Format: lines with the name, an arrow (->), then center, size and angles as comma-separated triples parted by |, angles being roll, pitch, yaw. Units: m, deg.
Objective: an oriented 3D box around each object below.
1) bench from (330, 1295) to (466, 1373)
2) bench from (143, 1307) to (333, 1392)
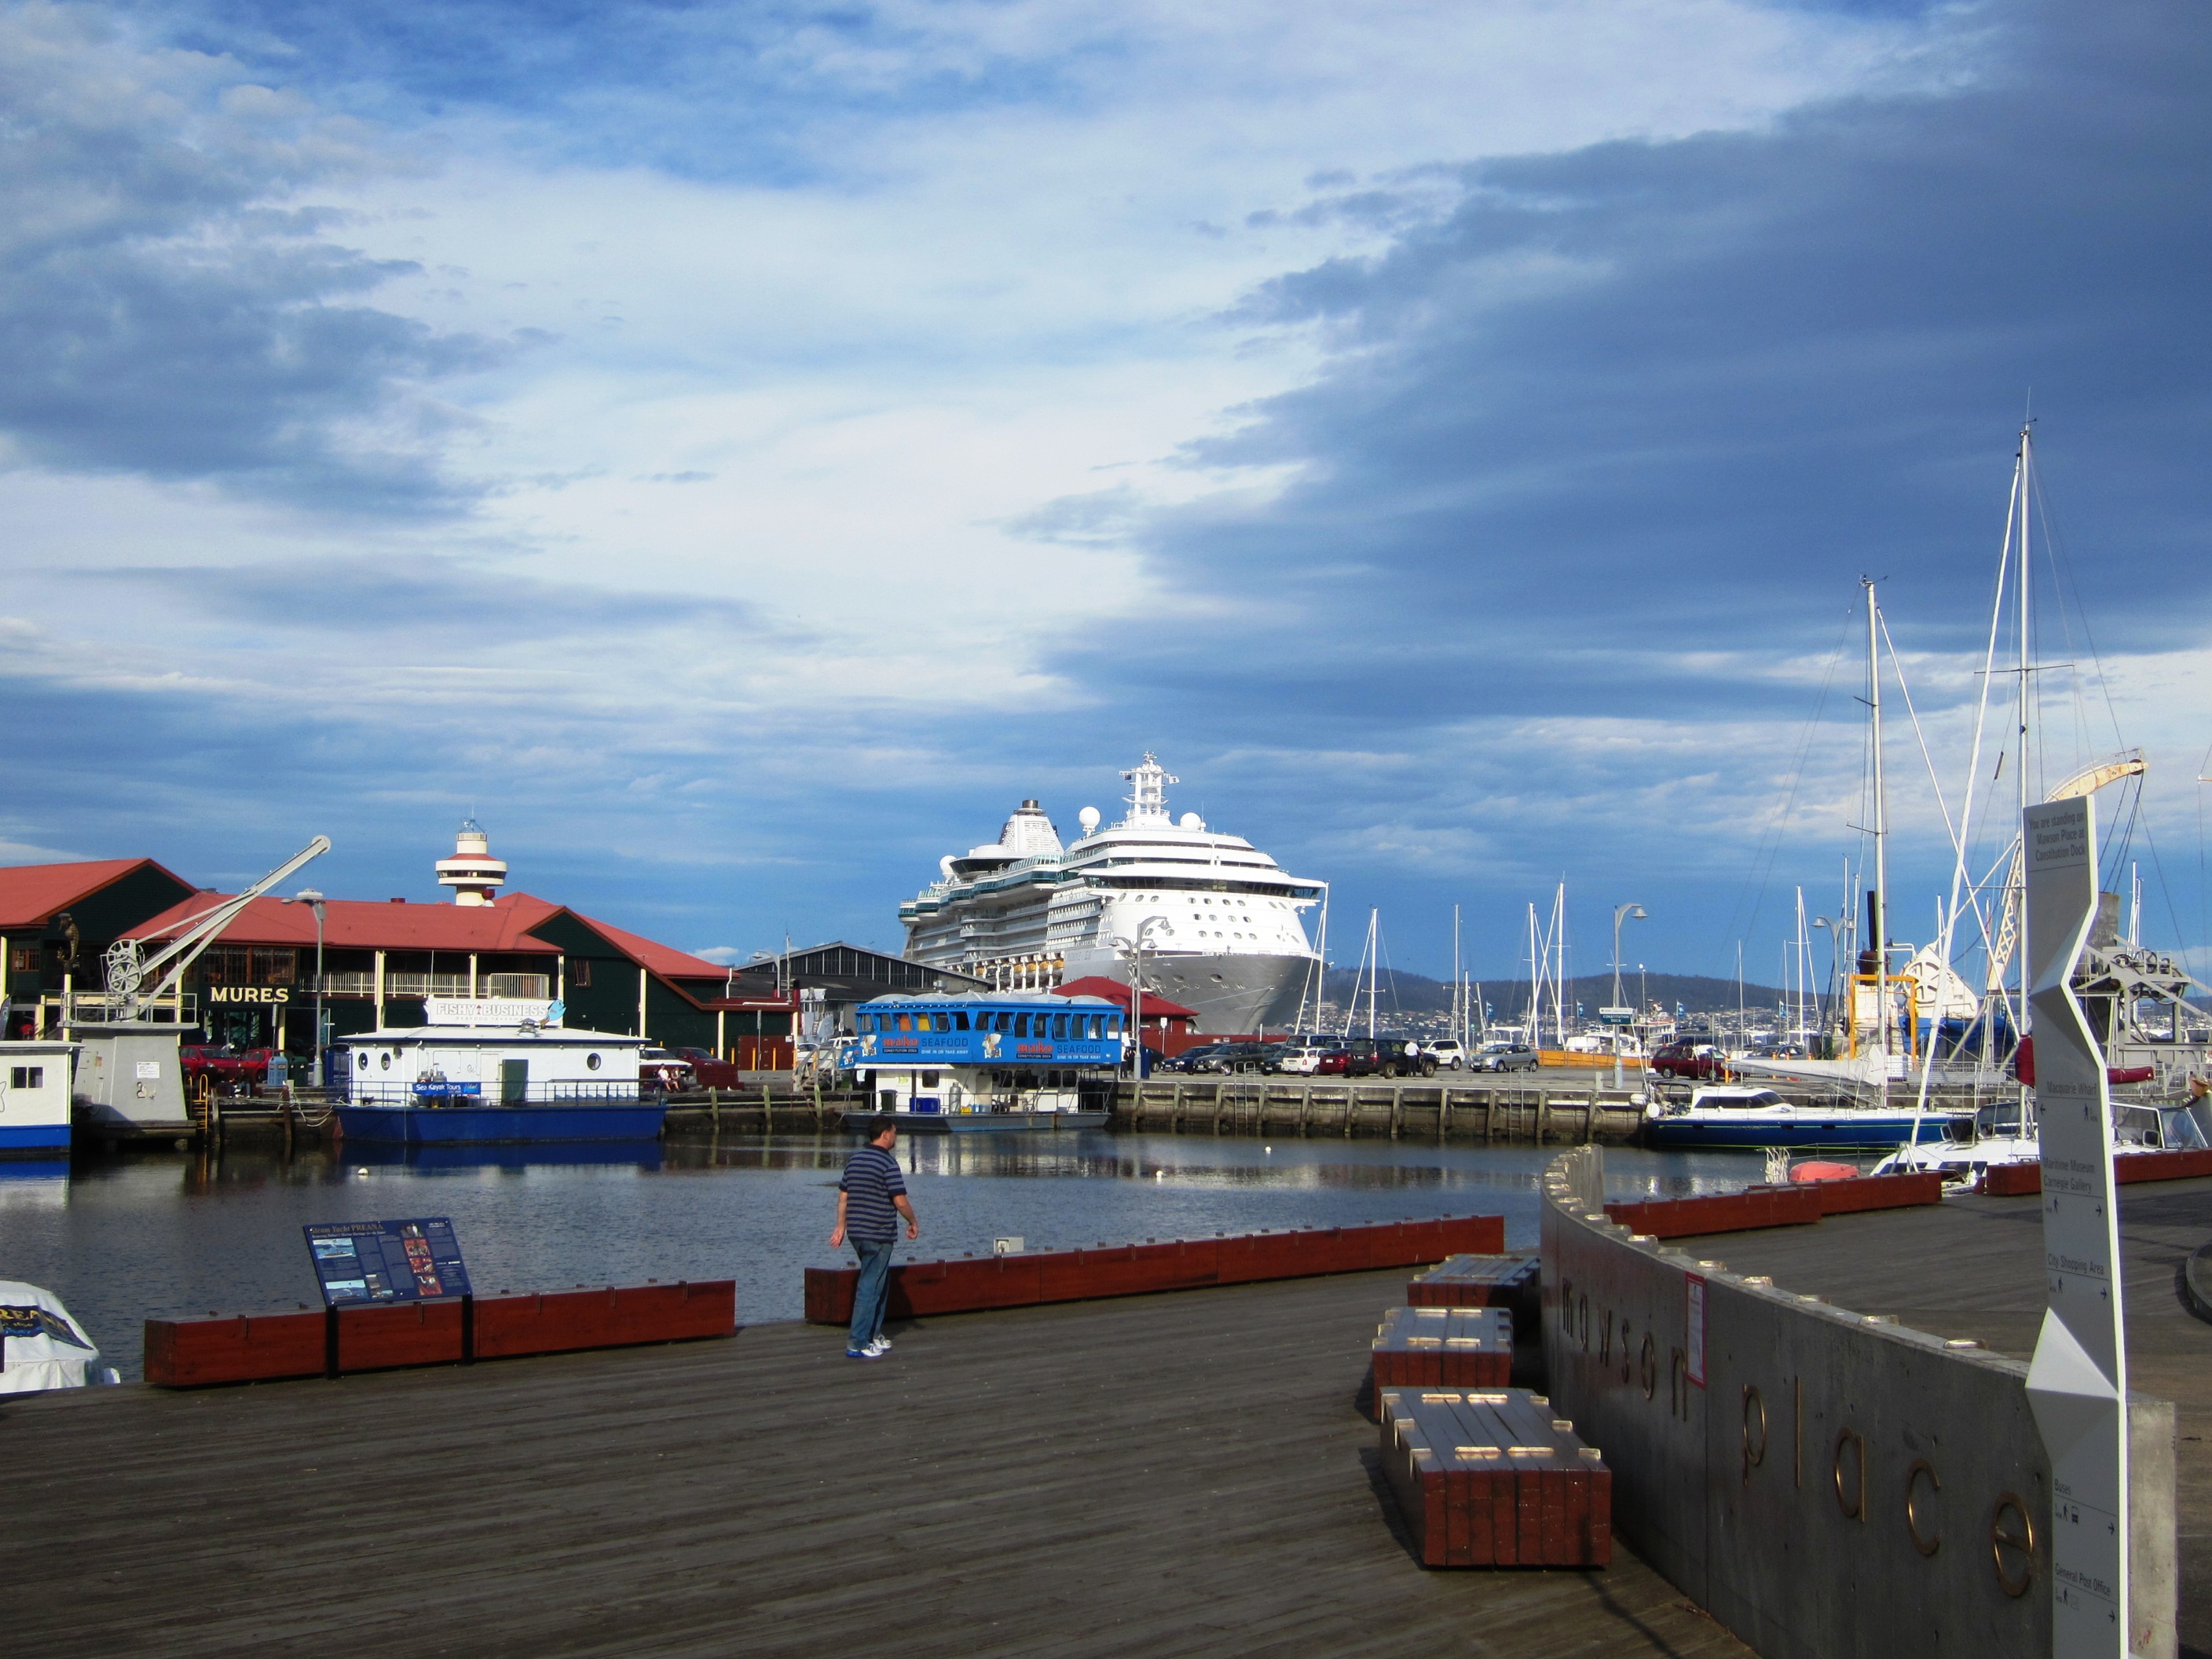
bench -> -4.974, 3.580, 17.818 | 0.230, 0.444, 0.922 | -7, -7, 42
bench -> -5.945, 3.573, 17.335 | 1.164, 0.470, 0.332 | 0, -6, -26
